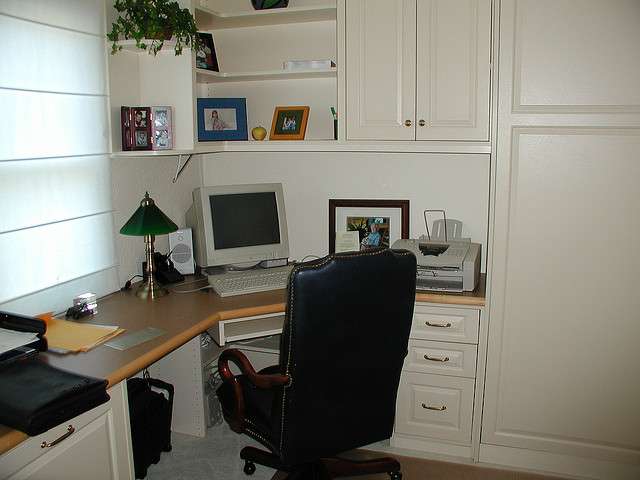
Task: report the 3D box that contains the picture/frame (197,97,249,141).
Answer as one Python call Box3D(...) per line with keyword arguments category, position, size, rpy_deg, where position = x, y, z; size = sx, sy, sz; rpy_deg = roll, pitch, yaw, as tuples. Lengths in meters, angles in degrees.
Box3D(category="picture/frame", position=(-0.634, -0.758, 3.155), size=(0.307, 0.258, 0.021), rpy_deg=(2, -3, -35))

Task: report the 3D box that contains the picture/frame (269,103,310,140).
Box3D(category="picture/frame", position=(-0.191, -0.751, 3.192), size=(0.259, 0.266, 0.026), rpy_deg=(3, -18, 11))

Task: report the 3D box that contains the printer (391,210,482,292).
Box3D(category="printer", position=(0.663, -0.047, 2.960), size=(0.557, 0.559, 0.473), rpy_deg=(3, 17, 21))

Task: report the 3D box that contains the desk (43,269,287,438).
Box3D(category="desk", position=(-0.760, 0.775, 2.621), size=(0.891, 0.626, 0.930), rpy_deg=(3, 15, 12))

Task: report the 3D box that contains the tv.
Box3D(category="tv", position=(-0.511, -0.123, 3.290), size=(0.758, 0.680, 0.460), rpy_deg=(-5, 1, -27))
